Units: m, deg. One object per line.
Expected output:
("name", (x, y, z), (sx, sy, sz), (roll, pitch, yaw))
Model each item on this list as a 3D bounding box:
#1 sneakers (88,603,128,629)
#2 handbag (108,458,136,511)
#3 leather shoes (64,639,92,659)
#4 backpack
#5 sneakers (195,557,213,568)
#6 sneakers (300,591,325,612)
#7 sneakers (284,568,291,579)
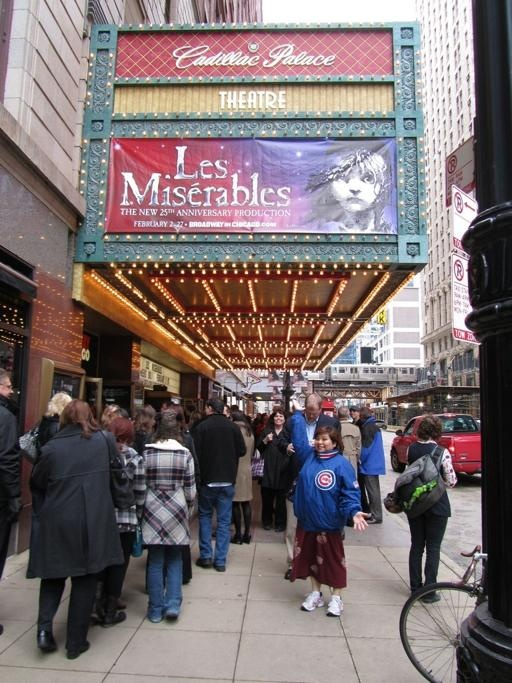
("sneakers", (-1.167, 2.199, 4.385), (0.122, 0.234, 0.327), (-1, -9, 14))
("handbag", (-1.028, 1.094, 4.164), (0.146, 0.404, 0.389), (-1, -8, -9))
("leather shoes", (-1.213, 2.090, 3.702), (0.070, 0.083, 0.194), (1, 0, 15))
("backpack", (1.399, 1.265, 4.811), (0.531, 0.643, 0.356), (-5, -8, 19))
("sneakers", (-0.563, 2.415, 5.920), (0.199, 0.087, 0.078), (2, -6, 27))
("sneakers", (0.492, 2.289, 4.751), (0.095, 0.126, 0.271), (-11, -30, 27))
("sneakers", (0.323, 2.416, 5.637), (0.090, 0.105, 0.265), (0, -14, 3))
